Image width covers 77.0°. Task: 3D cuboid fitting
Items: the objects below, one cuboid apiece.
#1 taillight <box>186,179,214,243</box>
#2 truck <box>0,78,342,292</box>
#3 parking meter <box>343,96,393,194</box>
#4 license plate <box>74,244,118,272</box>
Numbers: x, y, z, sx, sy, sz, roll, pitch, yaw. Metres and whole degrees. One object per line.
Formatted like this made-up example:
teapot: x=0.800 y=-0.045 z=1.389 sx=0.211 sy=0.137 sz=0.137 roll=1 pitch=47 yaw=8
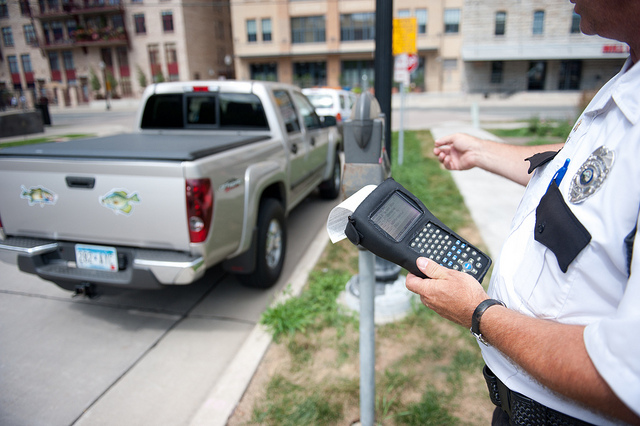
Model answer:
taillight: x=-0.910 y=-0.036 z=3.044 sx=0.224 sy=0.466 sz=0.142 roll=-12 pitch=26 yaw=-22
truck: x=-1.014 y=-0.541 z=4.453 sx=1.920 sy=1.420 sz=3.551 roll=7 pitch=24 yaw=23
parking meter: x=0.305 y=-0.474 z=2.826 sx=0.291 sy=0.652 sz=0.301 roll=0 pitch=24 yaw=3
license plate: x=-1.799 y=0.353 z=3.225 sx=0.399 sy=0.199 sz=0.072 roll=5 pitch=25 yaw=14
